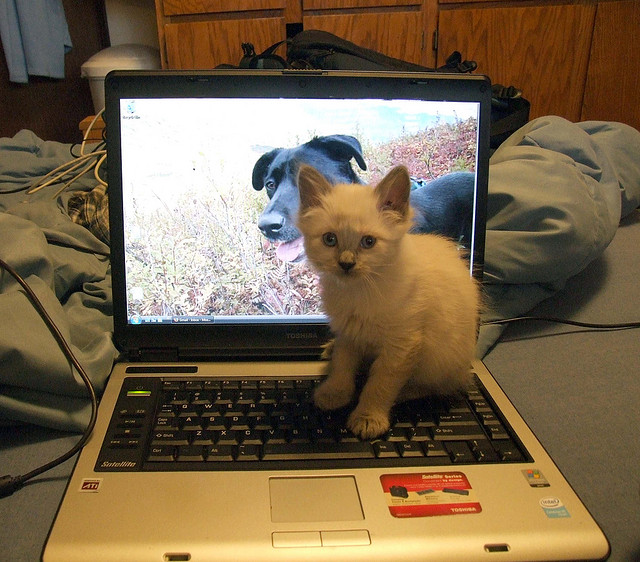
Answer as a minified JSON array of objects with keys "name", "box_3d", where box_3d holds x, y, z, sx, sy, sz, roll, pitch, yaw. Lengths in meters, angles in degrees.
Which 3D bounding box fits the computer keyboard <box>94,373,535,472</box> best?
[{"name":"computer keyboard","box_3d":[-0.008,0.222,0.946,0.656,0.047,0.196,1,28,-2]}]

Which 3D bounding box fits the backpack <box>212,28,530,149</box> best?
[{"name":"backpack","box_3d":[0.218,-0.717,1.944,0.818,0.267,0.697,5,45,8]}]

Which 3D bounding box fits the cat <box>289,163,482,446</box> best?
[{"name":"cat","box_3d":[0.126,0.006,1.074,0.329,0.465,0.274,-19,27,-34]}]
